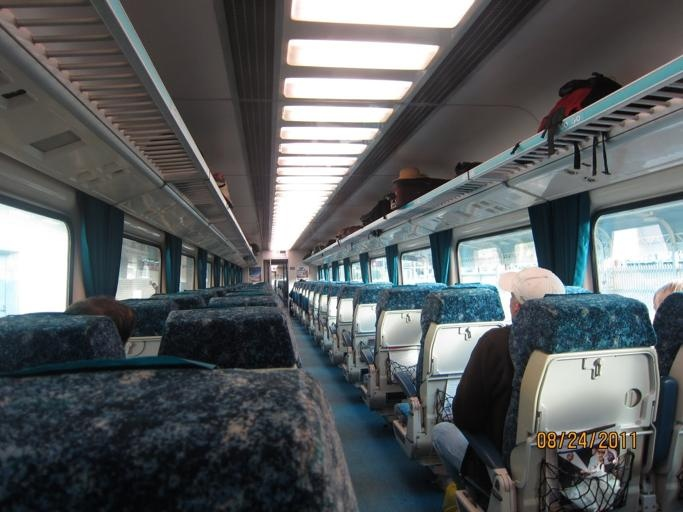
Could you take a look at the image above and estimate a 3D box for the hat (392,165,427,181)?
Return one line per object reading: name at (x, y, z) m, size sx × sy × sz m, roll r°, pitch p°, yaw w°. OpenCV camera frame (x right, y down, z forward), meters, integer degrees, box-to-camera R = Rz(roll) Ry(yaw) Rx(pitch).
hat at (1.022, -1.227, 6.567) m, size 0.286 × 0.106 × 0.312 m, roll -3°, pitch 1°, yaw -41°
